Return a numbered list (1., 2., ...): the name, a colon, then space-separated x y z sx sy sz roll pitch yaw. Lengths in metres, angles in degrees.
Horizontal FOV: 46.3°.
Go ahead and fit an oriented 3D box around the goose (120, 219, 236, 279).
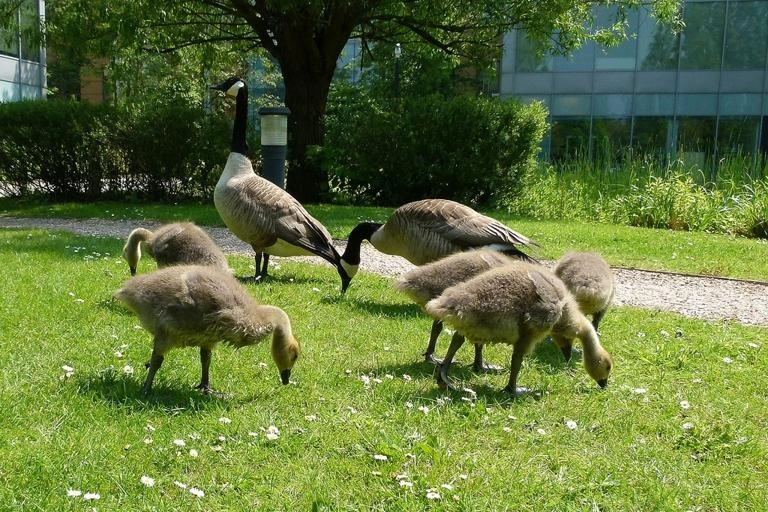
1. goose: -4.011 0.011 16.910 2.323 1.108 0.826 2 -2 25
